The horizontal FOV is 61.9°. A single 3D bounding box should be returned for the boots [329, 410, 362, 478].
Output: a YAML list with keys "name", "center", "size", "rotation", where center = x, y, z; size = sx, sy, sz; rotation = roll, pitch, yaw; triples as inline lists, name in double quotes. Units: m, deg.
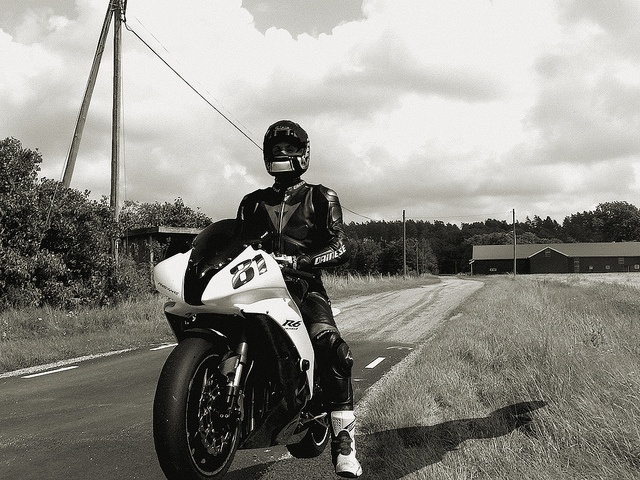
- name: "boots"
  center: [0.217, 1.796, 4.691]
  size: [0.247, 0.417, 0.230]
  rotation: [-3, -2, 0]
